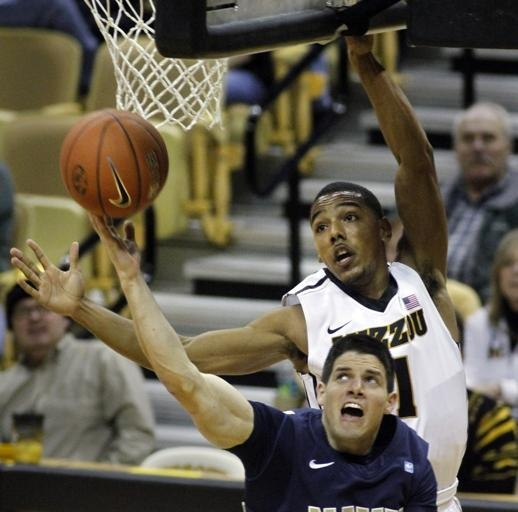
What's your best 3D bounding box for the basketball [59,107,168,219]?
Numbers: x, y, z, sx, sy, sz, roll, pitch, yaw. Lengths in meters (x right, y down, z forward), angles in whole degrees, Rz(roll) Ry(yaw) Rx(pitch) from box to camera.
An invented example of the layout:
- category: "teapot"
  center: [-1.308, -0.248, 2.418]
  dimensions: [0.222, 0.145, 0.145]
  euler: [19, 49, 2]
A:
- category: "basketball"
  center: [-0.327, -0.244, 2.428]
  dimensions: [0.246, 0.330, 0.255]
  euler: [1, 16, -2]
